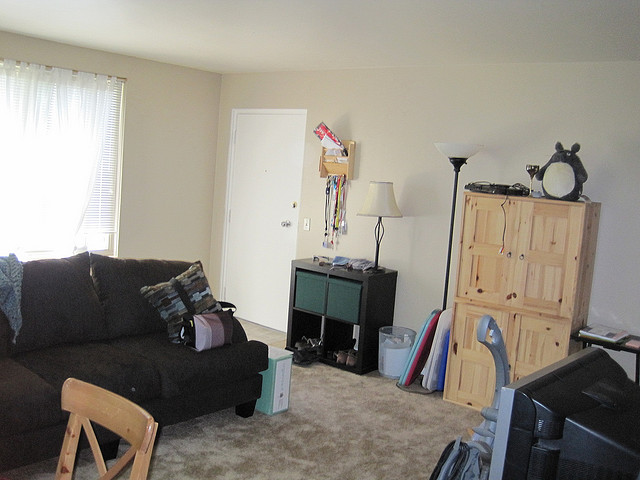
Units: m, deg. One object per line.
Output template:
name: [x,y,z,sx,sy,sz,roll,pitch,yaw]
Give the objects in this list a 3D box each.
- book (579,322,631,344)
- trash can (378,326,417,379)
book: [2.244,0.723,3.835,0.289,0.044,0.532,12,12,39]
trash can: [0.743,1.068,4.867,0.395,0.454,0.420,8,5,31]
